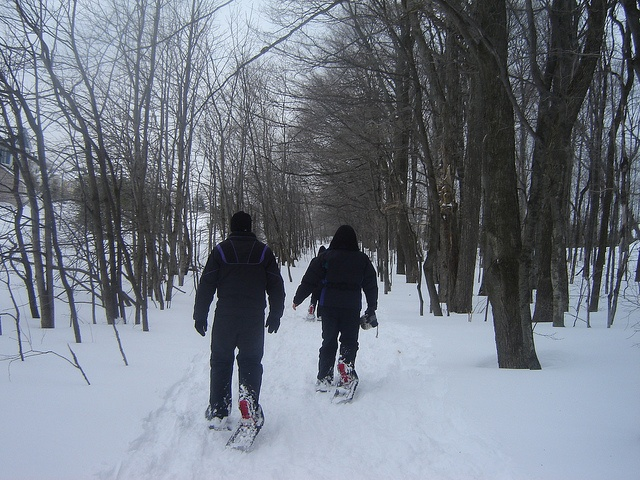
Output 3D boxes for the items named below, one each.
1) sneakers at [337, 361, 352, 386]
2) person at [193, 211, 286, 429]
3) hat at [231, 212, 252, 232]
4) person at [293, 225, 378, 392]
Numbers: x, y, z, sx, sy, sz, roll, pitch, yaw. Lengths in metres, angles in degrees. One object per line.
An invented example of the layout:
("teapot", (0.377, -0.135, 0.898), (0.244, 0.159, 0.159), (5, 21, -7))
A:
("sneakers", (0.371, 1.970, 7.950), (0.179, 0.307, 0.128), (4, -17, 4))
("person", (-1.070, 1.209, 7.207), (1.183, 2.610, 0.618), (-2, 3, -16))
("hat", (-1.087, -0.235, 7.497), (0.195, 0.306, 0.306), (1, -9, -13))
("person", (0.293, 1.040, 8.379), (1.206, 2.532, 0.552), (-1, 3, 0))
